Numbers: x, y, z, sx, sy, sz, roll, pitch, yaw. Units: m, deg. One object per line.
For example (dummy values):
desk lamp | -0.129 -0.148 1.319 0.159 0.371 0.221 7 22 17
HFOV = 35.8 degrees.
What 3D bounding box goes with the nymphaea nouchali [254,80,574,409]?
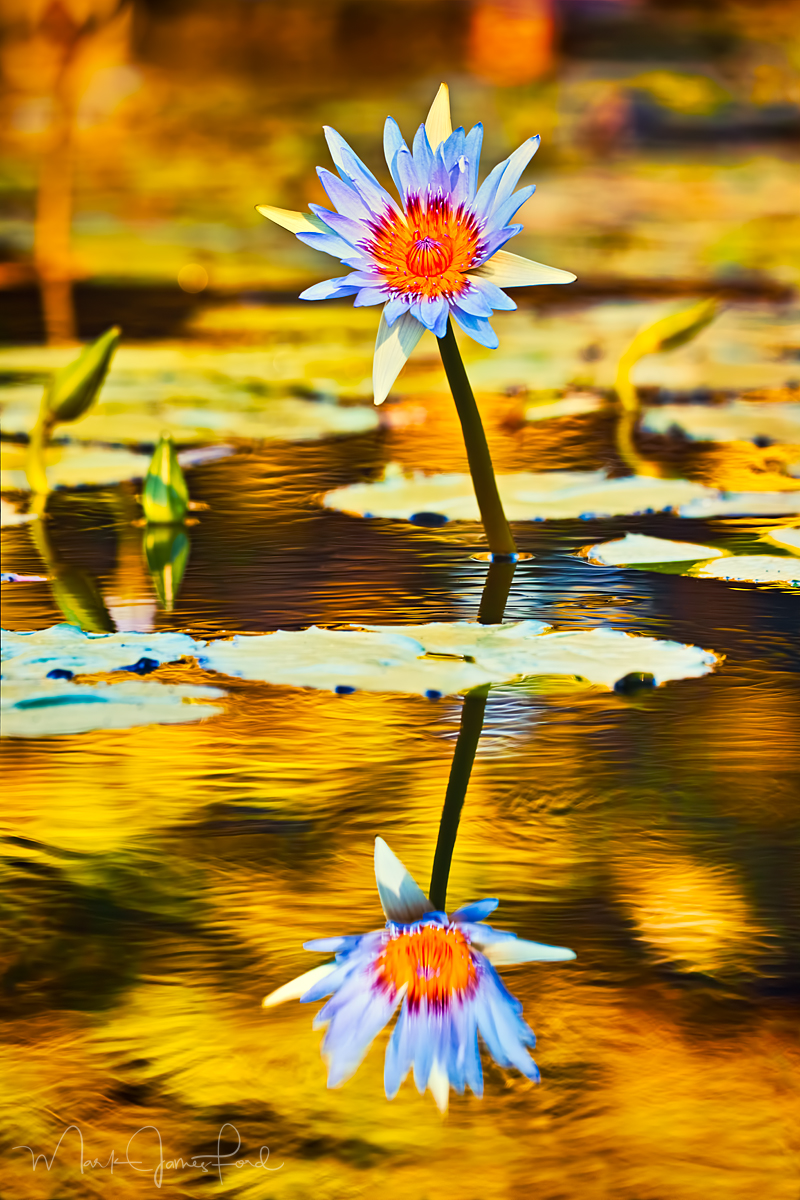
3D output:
nymphaea nouchali | 0.006 -0.213 0.730 0.180 0.138 0.057 -28 69 33
